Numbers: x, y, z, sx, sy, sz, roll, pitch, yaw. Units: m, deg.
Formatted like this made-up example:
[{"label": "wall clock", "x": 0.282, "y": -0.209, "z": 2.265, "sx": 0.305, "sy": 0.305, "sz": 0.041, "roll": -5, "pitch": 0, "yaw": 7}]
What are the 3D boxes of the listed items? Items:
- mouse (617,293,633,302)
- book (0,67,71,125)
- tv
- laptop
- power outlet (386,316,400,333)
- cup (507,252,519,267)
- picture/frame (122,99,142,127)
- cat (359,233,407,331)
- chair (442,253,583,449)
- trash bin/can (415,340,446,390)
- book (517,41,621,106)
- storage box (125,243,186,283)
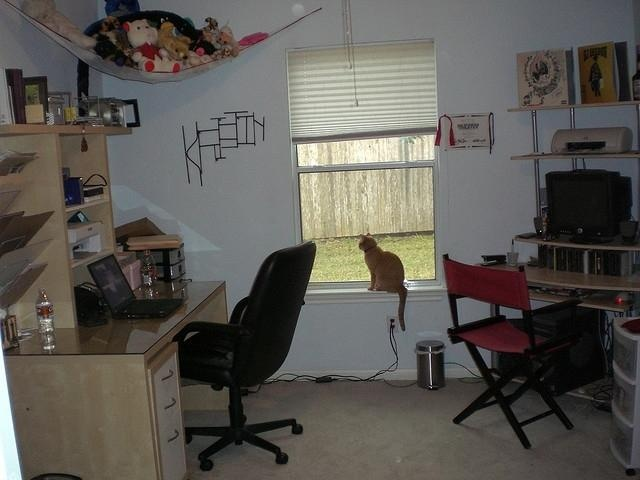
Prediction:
[{"label": "mouse", "x": 1.970, "y": 0.365, "z": 3.480, "sx": 0.092, "sy": 0.076, "sz": 0.057, "roll": 4, "pitch": 2, "yaw": 29}, {"label": "book", "x": -1.570, "y": -0.772, "z": 2.892, "sx": 0.148, "sy": 0.286, "sz": 0.285, "roll": -5, "pitch": 14, "yaw": -11}, {"label": "tv", "x": 1.870, "y": -0.247, "z": 3.913, "sx": 0.642, "sy": 0.652, "sz": 0.474, "roll": 2, "pitch": 8, "yaw": 43}, {"label": "laptop", "x": -1.093, "y": 0.315, "z": 3.220, "sx": 0.396, "sy": 0.266, "sz": 0.421, "roll": -1, "pitch": 8, "yaw": 1}, {"label": "power outlet", "x": 0.581, "y": 0.667, "z": 4.272, "sx": 0.139, "sy": 0.202, "sz": 0.021, "roll": 0, "pitch": 5, "yaw": 5}, {"label": "cup", "x": 1.455, "y": 0.149, "z": 4.042, "sx": 0.083, "sy": 0.102, "sz": 0.099, "roll": -2, "pitch": 2, "yaw": 9}, {"label": "picture/frame", "x": -1.487, "y": -1.006, "z": 4.248, "sx": 0.134, "sy": 0.222, "sz": 0.066, "roll": -3, "pitch": 13, "yaw": -3}, {"label": "cat", "x": 0.497, "y": 0.336, "z": 4.279, "sx": 0.412, "sy": 0.719, "sz": 0.147, "roll": 5, "pitch": 15, "yaw": 31}, {"label": "chair", "x": 1.287, "y": 0.656, "z": 3.550, "sx": 0.834, "sy": 1.127, "sz": 0.659, "roll": -9, "pitch": 15, "yaw": -25}, {"label": "trash bin/can", "x": 0.824, "y": 0.945, "z": 4.126, "sx": 0.299, "sy": 0.390, "sz": 0.300, "roll": -1, "pitch": 2, "yaw": 0}, {"label": "book", "x": 1.769, "y": -1.164, "z": 3.808, "sx": 0.710, "sy": 0.409, "sz": 0.284, "roll": 5, "pitch": 15, "yaw": 28}, {"label": "storage box", "x": -1.089, "y": 0.153, "z": 3.813, "sx": 0.288, "sy": 0.307, "sz": 0.191, "roll": 0, "pitch": -2, "yaw": -32}]
